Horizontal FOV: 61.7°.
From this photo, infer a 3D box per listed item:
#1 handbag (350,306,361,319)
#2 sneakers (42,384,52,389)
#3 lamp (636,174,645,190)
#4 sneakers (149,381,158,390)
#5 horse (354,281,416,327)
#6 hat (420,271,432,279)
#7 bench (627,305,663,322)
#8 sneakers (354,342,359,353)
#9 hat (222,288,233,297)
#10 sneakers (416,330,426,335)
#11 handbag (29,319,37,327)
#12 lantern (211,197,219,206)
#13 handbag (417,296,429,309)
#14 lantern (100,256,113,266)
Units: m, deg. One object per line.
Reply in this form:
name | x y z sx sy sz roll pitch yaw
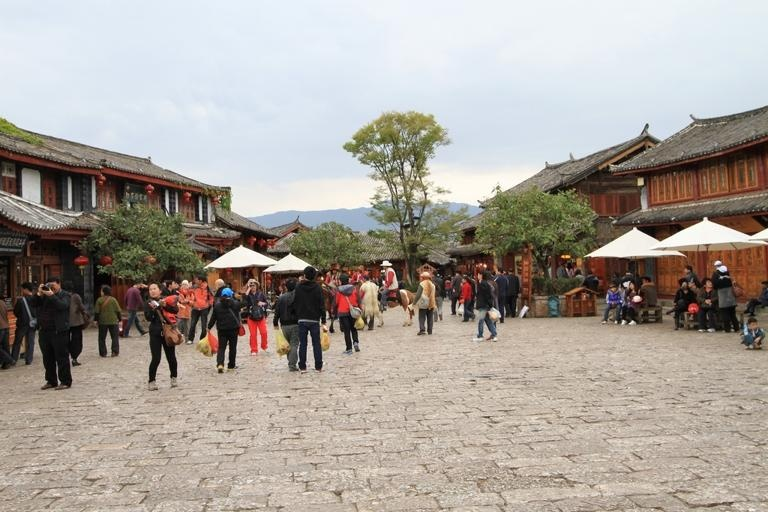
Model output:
handbag | -0.661 1.265 14.555 0.164 0.271 0.259 -17 -15 28
sneakers | -6.038 2.344 11.579 0.237 0.089 0.082 6 -1 -22
lamp | 11.398 -3.279 28.556 0.286 0.502 0.819 -1 6 7
sneakers | -4.088 2.290 11.361 0.100 0.104 0.241 4 -11 -37
horse | 0.210 1.529 20.514 2.185 1.240 0.543 -4 -6 25
hat | 1.260 0.563 19.230 0.517 0.237 0.702 0 1 8
bench | 8.327 1.699 20.356 1.136 0.697 0.584 -2 4 -6
sneakers | -0.631 2.114 14.802 0.083 0.223 0.158 -2 33 -5
hat | -3.083 0.711 12.574 0.213 0.146 0.142 -3 6 -6
sneakers | 1.018 2.097 17.609 0.275 0.177 0.096 -2 -18 12
handbag | -7.747 1.493 14.227 0.188 0.165 0.182 6 -17 -45
lantern | -9.009 -2.879 34.225 0.465 0.428 0.436 -5 8 -14
handbag | 1.045 1.192 17.249 0.304 0.496 0.414 -2 7 -4
lantern | -9.767 0.181 22.523 0.385 0.353 0.374 -8 3 1
